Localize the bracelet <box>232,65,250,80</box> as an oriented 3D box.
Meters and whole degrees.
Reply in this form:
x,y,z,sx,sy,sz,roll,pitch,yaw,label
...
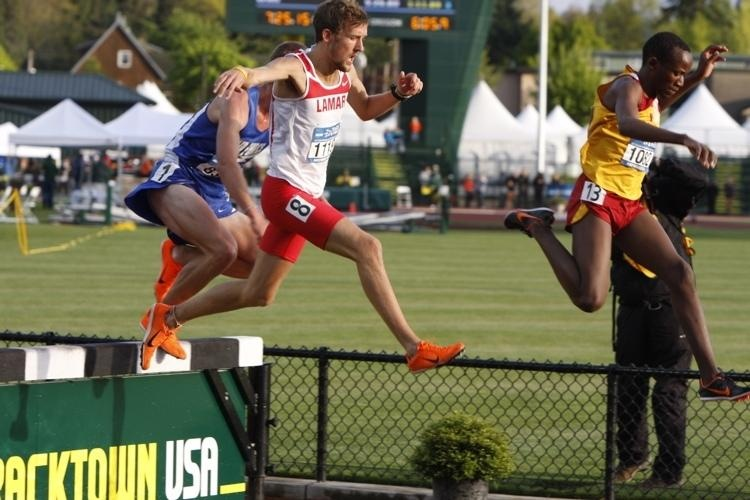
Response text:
x,y,z,sx,sy,sz,roll,pitch,yaw,label
-1.220,-1.601,14.858,0.136,0.101,0.121,-7,11,-44,bracelet

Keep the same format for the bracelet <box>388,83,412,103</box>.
x,y,z,sx,sy,sz,roll,pitch,yaw,label
0.231,-1.512,15.892,0.158,0.075,0.176,45,12,5,bracelet

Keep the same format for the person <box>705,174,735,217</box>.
x,y,z,sx,sy,sz,roll,pitch,yaw,label
10.162,-1.643,49.364,0.312,1.128,1.310,-8,14,-38,person

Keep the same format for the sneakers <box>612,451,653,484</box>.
x,y,z,sx,sy,sz,roll,pitch,yaw,label
2.504,2.121,16.149,0.420,0.223,0.132,-3,9,-27,sneakers

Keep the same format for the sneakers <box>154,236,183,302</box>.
x,y,z,sx,sy,sz,roll,pitch,yaw,label
-2.034,0.188,16.086,0.293,0.624,0.236,11,7,7,sneakers

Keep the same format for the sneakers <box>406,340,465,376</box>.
x,y,z,sx,sy,sz,roll,pitch,yaw,label
0.523,0.961,15.509,0.631,0.268,0.220,-22,4,5,sneakers

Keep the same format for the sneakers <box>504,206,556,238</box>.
x,y,z,sx,sy,sz,roll,pitch,yaw,label
1.537,-0.292,16.371,0.592,0.268,0.209,3,-22,31,sneakers
